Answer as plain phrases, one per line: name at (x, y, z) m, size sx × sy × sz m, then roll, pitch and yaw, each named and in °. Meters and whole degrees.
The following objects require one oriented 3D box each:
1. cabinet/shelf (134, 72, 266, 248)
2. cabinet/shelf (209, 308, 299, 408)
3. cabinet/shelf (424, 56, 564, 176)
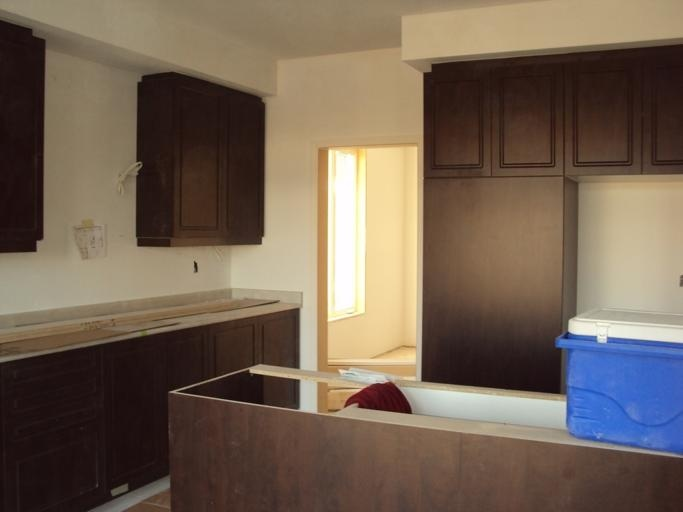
cabinet/shelf at (-1.189, -0.803, 4.710) m, size 0.482 × 1.679 × 1.468 m, roll -1°, pitch -2°, yaw 20°
cabinet/shelf at (-0.628, 0.676, 4.016) m, size 0.292 × 0.837 × 0.878 m, roll -1°, pitch -1°, yaw 23°
cabinet/shelf at (1.093, -0.925, 4.206) m, size 0.982 × 0.898 × 0.364 m, roll 0°, pitch -8°, yaw 13°
